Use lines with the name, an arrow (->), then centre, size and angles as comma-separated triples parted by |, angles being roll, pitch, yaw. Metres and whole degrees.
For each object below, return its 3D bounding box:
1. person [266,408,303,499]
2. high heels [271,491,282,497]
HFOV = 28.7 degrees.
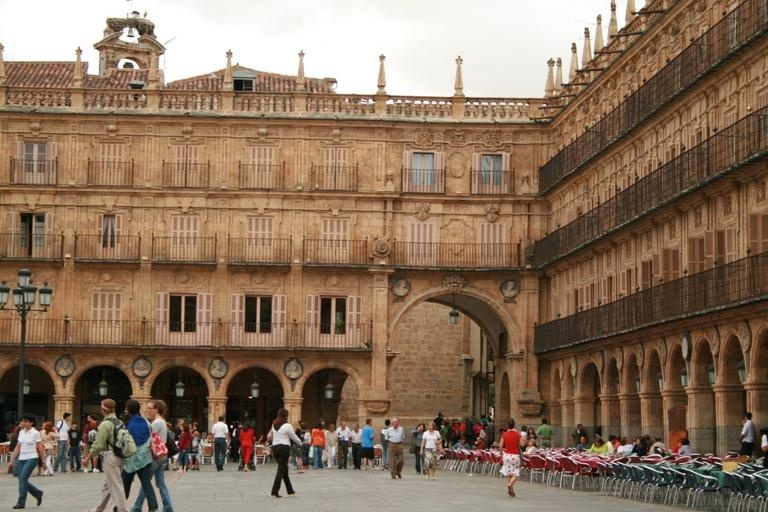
person -> -3.172, 6.202, 47.286 | 1.145, 2.754, 1.020 | 3, 1, 1
high heels -> -3.322, 7.484, 46.809 | 0.349, 0.168, 0.116 | 1, 7, -15
